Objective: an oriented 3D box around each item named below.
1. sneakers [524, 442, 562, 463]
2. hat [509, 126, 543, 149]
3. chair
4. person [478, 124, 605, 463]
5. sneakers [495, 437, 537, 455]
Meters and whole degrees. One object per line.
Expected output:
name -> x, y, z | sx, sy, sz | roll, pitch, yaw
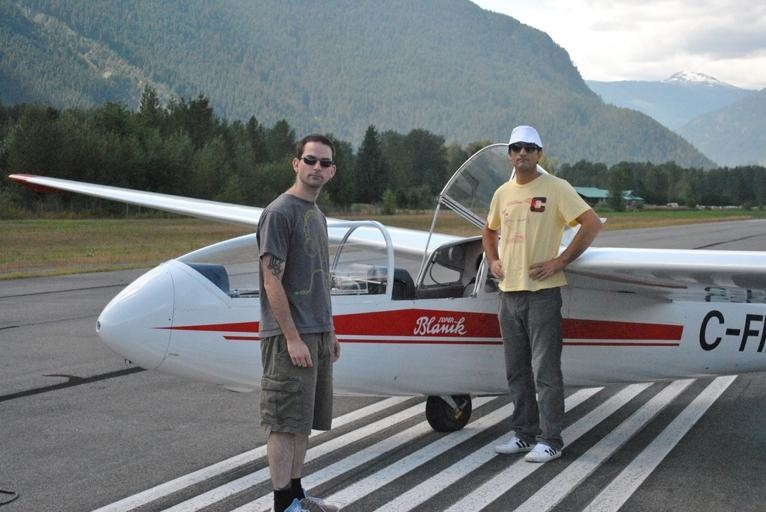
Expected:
sneakers -> 1.456, 1.796, 5.890 | 0.326, 0.145, 0.143 | 0, -4, -22
hat -> 1.287, -1.107, 5.896 | 0.198, 0.154, 0.277 | -17, 34, -35
chair -> 0.740, 0.274, 7.078 | 0.824, 0.911, 0.580 | 3, -4, -5
person -> 1.404, 0.352, 5.919 | 0.987, 3.044, 0.435 | 3, 6, 15
sneakers -> 1.237, 1.788, 6.099 | 0.397, 0.178, 0.155 | 2, -4, -6
